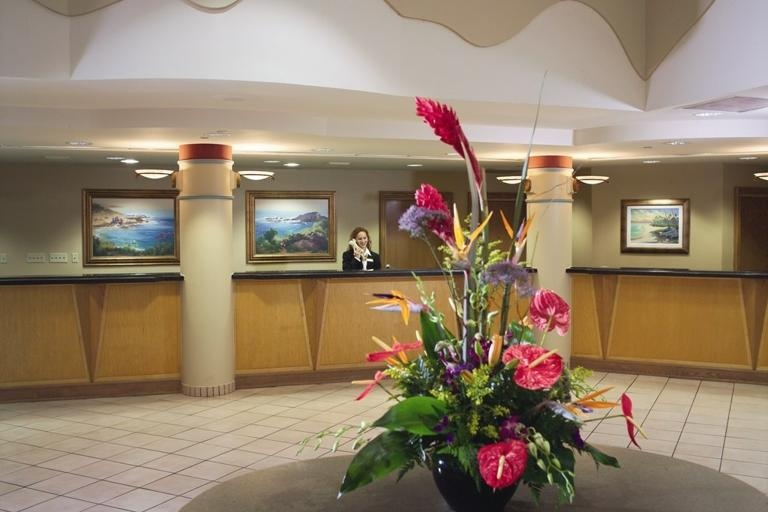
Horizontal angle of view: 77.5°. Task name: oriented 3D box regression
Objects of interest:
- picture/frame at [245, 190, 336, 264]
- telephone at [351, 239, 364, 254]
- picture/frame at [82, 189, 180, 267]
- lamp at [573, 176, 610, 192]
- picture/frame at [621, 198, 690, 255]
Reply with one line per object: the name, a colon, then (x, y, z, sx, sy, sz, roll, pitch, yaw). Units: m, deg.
picture/frame: (-2.217, -0.683, 10.762, 1.718, 1.367, 0.132, -1, 1, -6)
telephone: (-0.499, -0.160, 8.380, 0.224, 0.224, 0.091, 2, 6, 16)
picture/frame: (-5.498, -0.588, 10.177, 1.714, 1.362, 0.129, -2, 3, -12)
lamp: (4.084, -1.418, 9.393, 0.875, 0.200, 0.853, -1, 4, -8)
picture/frame: (5.817, -0.648, 10.179, 1.183, 0.987, 0.088, 5, 7, 15)
